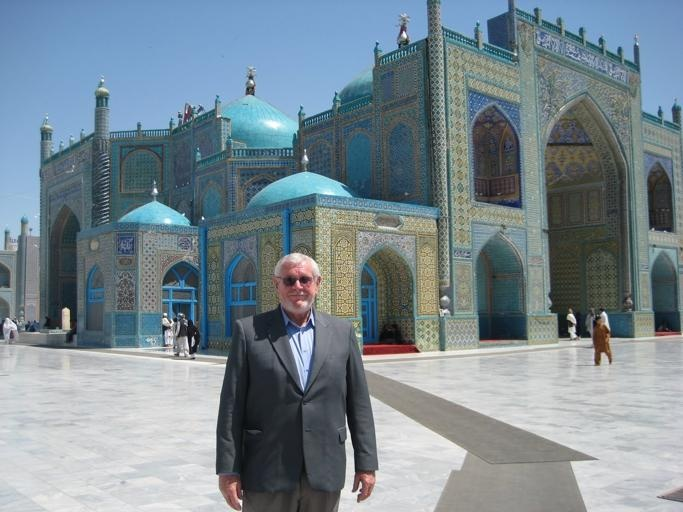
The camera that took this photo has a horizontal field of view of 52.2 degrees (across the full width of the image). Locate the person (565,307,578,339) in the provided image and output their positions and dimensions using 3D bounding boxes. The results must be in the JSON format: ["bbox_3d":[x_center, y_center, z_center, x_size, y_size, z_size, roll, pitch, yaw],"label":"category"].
[{"bbox_3d":[7.424,2.182,22.525,0.256,1.004,1.238,-4,-8,17],"label":"person"}]

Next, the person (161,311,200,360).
[{"bbox_3d":[-4.286,2.131,18.410,0.642,0.623,1.694,-16,-11,-14],"label":"person"}]
